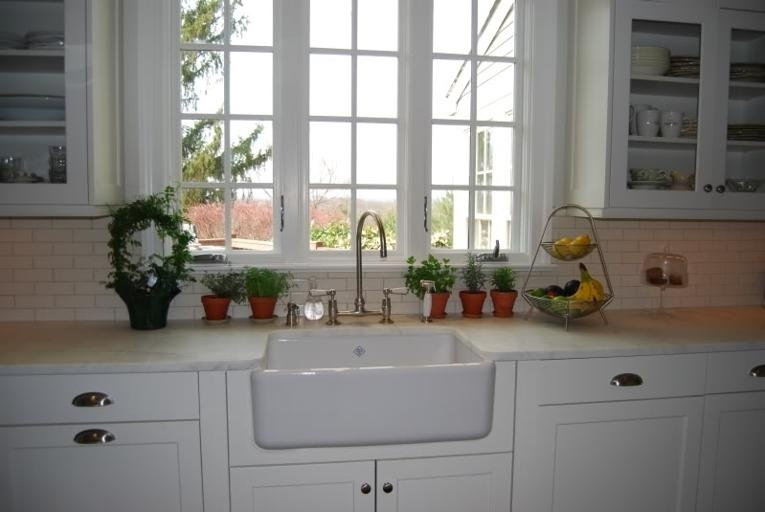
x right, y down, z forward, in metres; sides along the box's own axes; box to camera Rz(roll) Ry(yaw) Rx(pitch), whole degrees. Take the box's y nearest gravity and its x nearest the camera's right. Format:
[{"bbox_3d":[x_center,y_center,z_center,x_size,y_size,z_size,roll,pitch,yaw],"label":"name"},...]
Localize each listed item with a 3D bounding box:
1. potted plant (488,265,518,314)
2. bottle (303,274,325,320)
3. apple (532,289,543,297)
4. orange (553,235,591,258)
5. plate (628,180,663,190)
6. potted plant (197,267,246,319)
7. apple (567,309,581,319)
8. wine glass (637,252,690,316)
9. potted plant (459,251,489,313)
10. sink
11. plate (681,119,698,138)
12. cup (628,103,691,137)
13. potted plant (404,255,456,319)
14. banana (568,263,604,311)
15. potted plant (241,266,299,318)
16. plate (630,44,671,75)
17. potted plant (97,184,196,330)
[{"bbox_3d":[0.774,0.225,4.012,0.162,0.311,0.218,0,6,12],"label":"potted plant"},{"bbox_3d":[-0.407,0.260,3.795,0.130,0.264,0.277,-2,6,-7],"label":"bottle"},{"bbox_3d":[0.932,0.220,3.764,0.044,0.040,0.044,6,19,15],"label":"apple"},{"bbox_3d":[1.138,-0.048,3.745,0.165,0.094,0.156,-3,-1,-5],"label":"orange"},{"bbox_3d":[1.589,-0.425,3.804,0.220,0.052,0.012,-2,6,-9],"label":"plate"},{"bbox_3d":[-0.961,0.234,3.800,0.263,0.292,0.193,-3,6,-16],"label":"potted plant"},{"bbox_3d":[1.110,0.340,3.636,0.061,0.043,0.055,4,5,24],"label":"apple"},{"bbox_3d":[1.778,0.100,3.969,0.259,0.223,0.093,1,6,17],"label":"wine glass"},{"bbox_3d":[0.575,0.189,4.006,0.164,0.382,0.249,0,6,11],"label":"potted plant"},{"bbox_3d":[-0.048,0.698,3.403,1.252,0.515,0.501,-2,6,-5],"label":"sink"},{"bbox_3d":[1.865,-0.777,3.817,0.125,0.120,0.074,-1,6,2],"label":"plate"},{"bbox_3d":[1.690,-0.818,3.841,0.325,0.136,0.191,2,1,-1],"label":"cup"},{"bbox_3d":[0.315,0.190,3.954,0.355,0.387,0.284,-2,6,-11],"label":"potted plant"},{"bbox_3d":[1.206,0.182,3.716,0.213,0.287,0.149,-14,10,-26],"label":"banana"},{"bbox_3d":[-0.651,0.211,3.745,0.343,0.336,0.279,0,1,-8],"label":"potted plant"},{"bbox_3d":[1.599,-1.177,3.727,0.179,0.096,0.201,1,1,5],"label":"plate"},{"bbox_3d":[-1.363,0.007,3.702,0.503,0.817,0.367,-4,6,-24],"label":"potted plant"}]
